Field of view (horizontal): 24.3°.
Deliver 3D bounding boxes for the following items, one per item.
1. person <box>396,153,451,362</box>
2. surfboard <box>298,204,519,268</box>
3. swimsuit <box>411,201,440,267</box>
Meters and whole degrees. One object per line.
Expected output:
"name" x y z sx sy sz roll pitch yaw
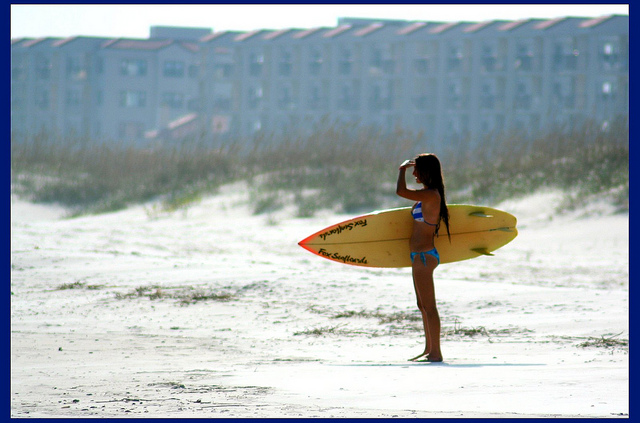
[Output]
"person" 2.010 0.892 28.647 0.936 3.941 0.489 -1 3 4
"surfboard" 1.828 0.483 29.285 3.962 1.194 0.411 0 3 2
"swimsuit" 1.970 0.353 28.773 0.622 1.161 0.513 1 12 -4
